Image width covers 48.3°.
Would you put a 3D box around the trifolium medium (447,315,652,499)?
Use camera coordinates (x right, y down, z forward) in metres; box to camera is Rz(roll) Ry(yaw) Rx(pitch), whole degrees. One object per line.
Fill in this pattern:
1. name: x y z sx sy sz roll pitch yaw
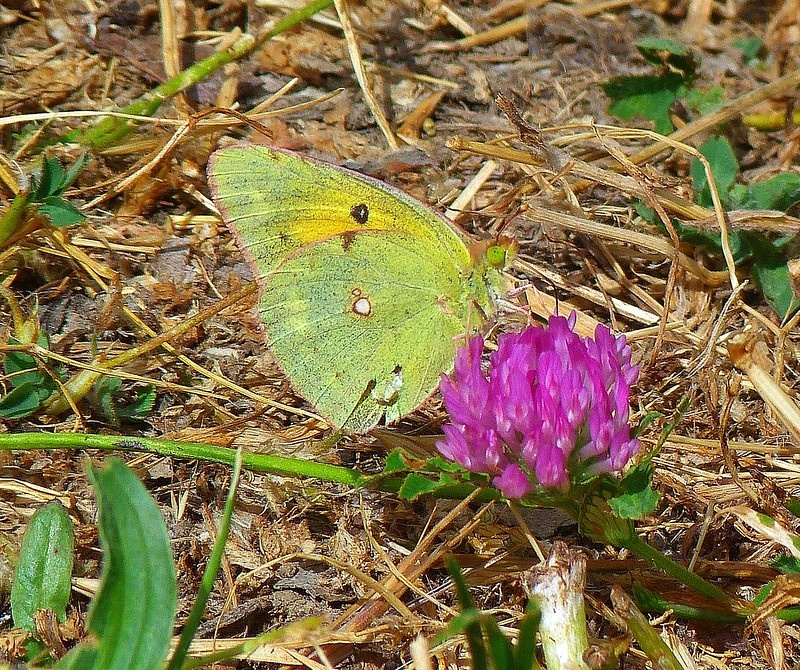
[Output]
1. trifolium medium: 0.266 0.136 1.777 0.371 0.369 0.263 -17 -71 -2
